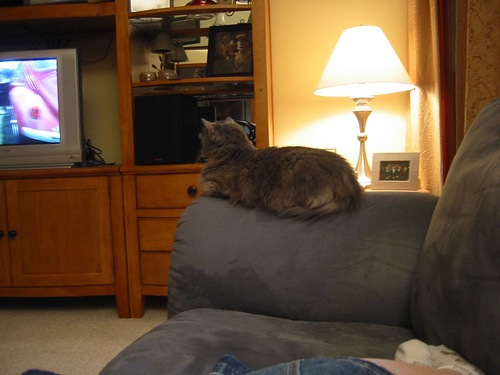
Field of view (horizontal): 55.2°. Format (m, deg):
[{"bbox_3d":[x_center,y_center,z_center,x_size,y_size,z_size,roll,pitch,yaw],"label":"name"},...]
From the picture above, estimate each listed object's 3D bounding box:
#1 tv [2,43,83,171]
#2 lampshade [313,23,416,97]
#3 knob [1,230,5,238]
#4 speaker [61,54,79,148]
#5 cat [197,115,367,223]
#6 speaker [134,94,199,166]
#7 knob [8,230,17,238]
[{"bbox_3d":[-1.215,-0.453,2.802,0.689,0.619,0.370,-2,-6,7],"label":"tv"},{"bbox_3d":[0.604,-0.661,2.571,0.422,0.276,0.440,-5,3,-37],"label":"lampshade"},{"bbox_3d":[-1.424,0.267,2.760,0.020,0.039,0.012,-5,10,-26],"label":"knob"},{"bbox_3d":[-1.052,-0.525,2.814,0.113,0.550,0.059,-3,-4,0],"label":"speaker"},{"bbox_3d":[0.079,-0.056,1.814,0.578,0.224,0.375,11,26,29],"label":"cat"},{"bbox_3d":[-0.489,-0.313,2.833,0.366,0.404,0.357,-2,-1,33],"label":"speaker"},{"bbox_3d":[-1.368,0.268,2.746,0.055,0.043,0.020,0,9,5],"label":"knob"}]
